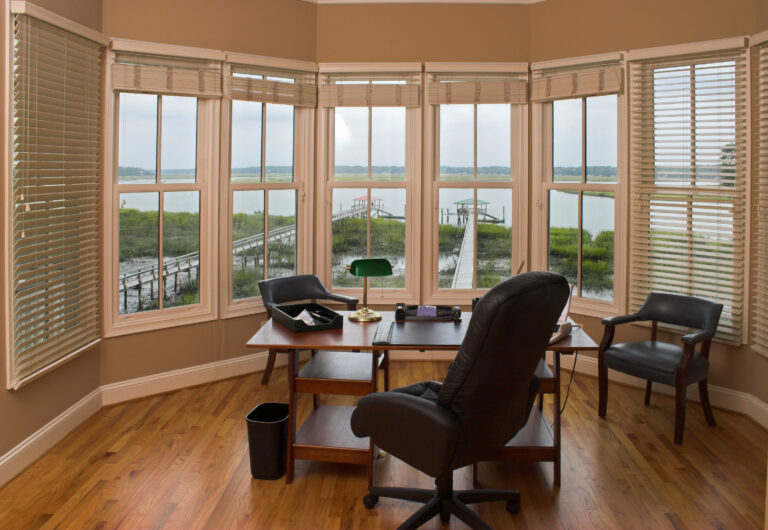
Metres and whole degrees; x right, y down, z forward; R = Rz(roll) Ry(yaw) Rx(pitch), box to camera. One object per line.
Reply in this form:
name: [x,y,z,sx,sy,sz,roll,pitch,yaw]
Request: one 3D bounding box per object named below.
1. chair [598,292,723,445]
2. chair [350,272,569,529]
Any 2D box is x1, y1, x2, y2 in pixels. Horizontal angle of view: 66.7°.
chair: [2.303,0.762,4.811,0.973,0.994,0.783,-10,12,-43]
chair: [0.598,0.761,4.009,1.434,1.892,1.423,1,3,34]
